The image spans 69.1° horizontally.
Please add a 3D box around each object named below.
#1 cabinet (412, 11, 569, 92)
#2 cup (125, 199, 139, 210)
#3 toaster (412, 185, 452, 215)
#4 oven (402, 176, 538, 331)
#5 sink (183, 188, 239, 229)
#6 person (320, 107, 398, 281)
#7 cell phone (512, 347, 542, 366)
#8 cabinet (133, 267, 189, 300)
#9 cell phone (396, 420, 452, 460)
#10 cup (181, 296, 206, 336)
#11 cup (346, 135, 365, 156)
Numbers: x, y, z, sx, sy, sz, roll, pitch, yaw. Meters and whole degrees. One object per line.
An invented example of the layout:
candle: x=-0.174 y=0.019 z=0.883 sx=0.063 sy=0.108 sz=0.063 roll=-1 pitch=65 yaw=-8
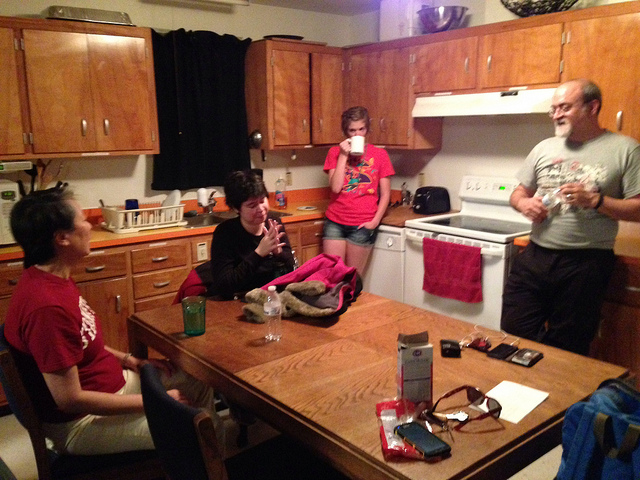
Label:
cabinet: x=1.380 y=-1.459 z=3.723 sx=0.368 sy=0.495 sz=1.396 roll=-17 pitch=22 yaw=-33
cup: x=-1.474 y=-0.282 z=3.635 sx=0.089 sy=0.095 sz=0.087 roll=0 pitch=5 yaw=0
toaster: x=1.038 y=-0.371 z=4.318 sx=0.318 sy=0.222 sz=0.221 roll=-3 pitch=5 yaw=-34
oven: x=1.283 y=0.114 z=3.836 sx=0.774 sy=1.158 sz=0.813 roll=-17 pitch=22 yaw=-38
sink: x=-0.946 y=-0.261 z=4.051 sx=0.326 sy=0.381 sz=0.432 roll=14 pitch=26 yaw=31
person: x=0.328 y=-0.410 z=4.196 sx=0.676 sy=1.514 sz=0.596 roll=-8 pitch=17 yaw=-19
cell phone: x=0.841 y=0.463 z=1.881 sx=0.083 sy=0.019 sz=0.060 roll=-18 pitch=20 yaw=-41
cabinet: x=-1.336 y=0.301 z=3.704 sx=0.316 sy=0.205 sz=0.476 roll=17 pitch=17 yaw=39
cell phone: x=0.314 y=0.611 z=1.417 sx=0.093 sy=0.020 sz=0.156 roll=-13 pitch=18 yaw=-29
cup: x=-0.581 y=0.348 z=2.137 sx=0.103 sy=0.151 sz=0.095 roll=0 pitch=0 yaw=0
cup: x=0.304 y=-0.798 z=3.926 sx=0.141 sy=0.182 sz=0.211 roll=-2 pitch=16 yaw=2
